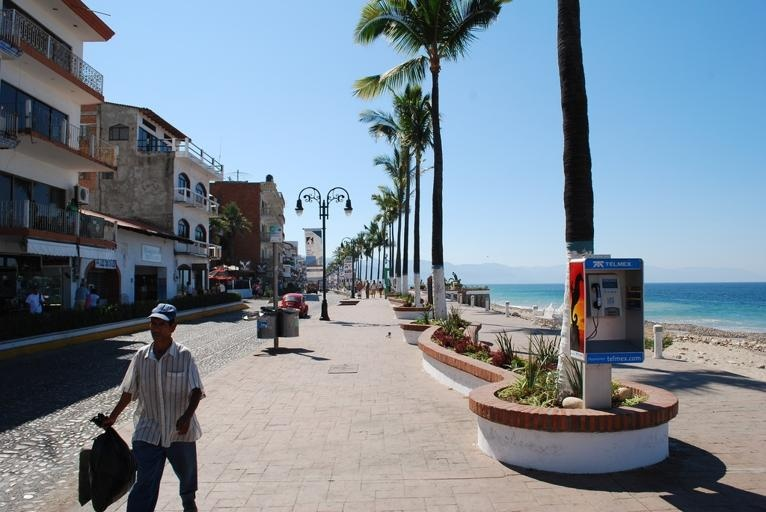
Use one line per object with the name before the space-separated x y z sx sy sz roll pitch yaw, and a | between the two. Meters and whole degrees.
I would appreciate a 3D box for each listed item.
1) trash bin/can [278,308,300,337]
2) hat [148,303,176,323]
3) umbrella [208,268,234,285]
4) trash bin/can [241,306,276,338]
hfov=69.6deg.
trash bin/can | -3.083 2.256 18.672 0.831 0.925 0.842 3 6 38
hat | -3.090 0.790 7.933 0.316 0.248 0.467 3 -17 4
umbrella | -15.203 1.803 51.400 2.360 0.977 2.579 2 1 -31
trash bin/can | -4.032 2.223 18.430 0.940 1.032 0.630 1 6 26
